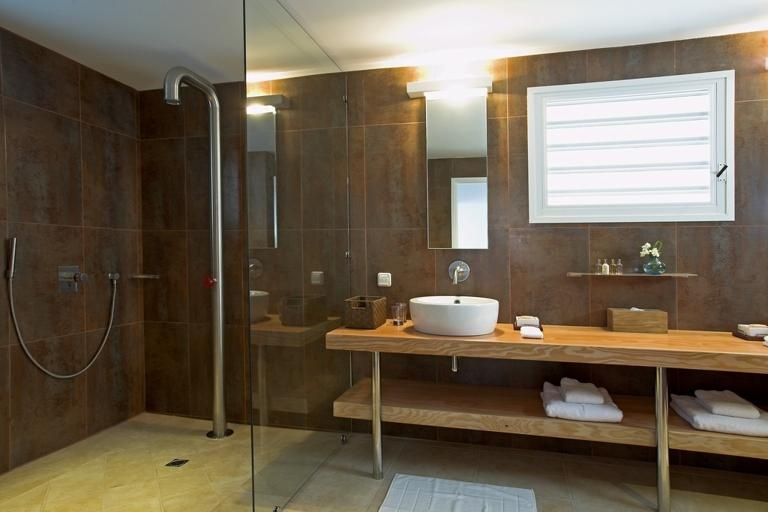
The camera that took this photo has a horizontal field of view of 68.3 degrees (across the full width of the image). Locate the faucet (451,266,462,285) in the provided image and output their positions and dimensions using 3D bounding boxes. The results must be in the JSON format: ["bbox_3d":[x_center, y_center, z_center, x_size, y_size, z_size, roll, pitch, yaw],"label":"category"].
[{"bbox_3d":[0.602,0.158,4.702,0.058,0.235,0.057,2,28,13],"label":"faucet"}]

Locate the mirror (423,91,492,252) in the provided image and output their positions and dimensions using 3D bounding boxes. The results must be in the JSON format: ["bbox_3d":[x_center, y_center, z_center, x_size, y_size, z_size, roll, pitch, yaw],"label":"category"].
[{"bbox_3d":[0.651,-0.682,4.789,0.710,1.417,0.116,-19,18,-41],"label":"mirror"}]

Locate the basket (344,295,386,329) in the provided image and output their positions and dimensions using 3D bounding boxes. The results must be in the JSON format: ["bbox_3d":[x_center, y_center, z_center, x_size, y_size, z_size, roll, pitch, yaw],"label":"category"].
[{"bbox_3d":[-0.151,0.452,4.544,0.272,0.158,0.256,1,2,11],"label":"basket"}]

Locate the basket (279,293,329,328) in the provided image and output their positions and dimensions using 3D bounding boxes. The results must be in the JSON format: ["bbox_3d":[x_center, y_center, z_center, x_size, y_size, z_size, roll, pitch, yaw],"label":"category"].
[{"bbox_3d":[-0.598,0.409,4.213,0.168,0.136,0.304,1,3,13],"label":"basket"}]

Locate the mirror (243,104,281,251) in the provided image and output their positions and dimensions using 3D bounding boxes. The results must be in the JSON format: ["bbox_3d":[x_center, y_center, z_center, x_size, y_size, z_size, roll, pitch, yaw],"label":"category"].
[{"bbox_3d":[-0.851,-0.509,3.964,0.207,0.940,0.218,0,0,12],"label":"mirror"}]

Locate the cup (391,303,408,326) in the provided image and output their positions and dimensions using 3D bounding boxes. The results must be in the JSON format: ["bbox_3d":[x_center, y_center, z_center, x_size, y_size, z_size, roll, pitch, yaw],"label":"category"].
[{"bbox_3d":[0.122,0.475,4.675,0.157,0.172,0.158,3,0,0],"label":"cup"}]

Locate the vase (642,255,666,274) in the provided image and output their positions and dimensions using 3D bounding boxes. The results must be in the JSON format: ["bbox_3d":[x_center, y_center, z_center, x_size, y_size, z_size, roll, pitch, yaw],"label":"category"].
[{"bbox_3d":[2.092,0.069,4.417,0.160,0.144,0.167,-3,2,23],"label":"vase"}]
